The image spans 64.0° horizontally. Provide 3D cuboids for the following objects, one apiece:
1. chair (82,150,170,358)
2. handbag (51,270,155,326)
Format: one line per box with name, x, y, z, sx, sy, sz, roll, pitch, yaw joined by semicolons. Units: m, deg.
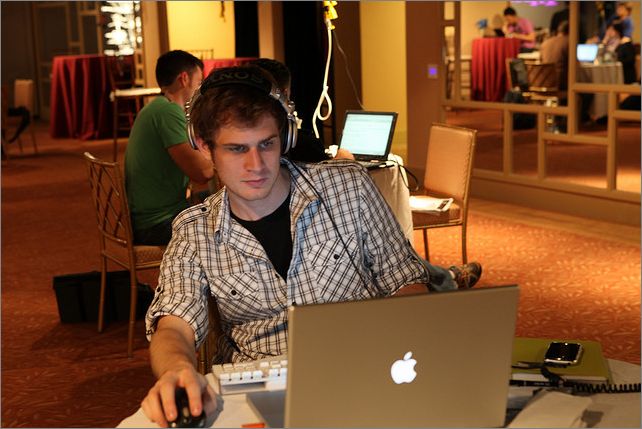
chair;-1.146;0.201;3.497;0.732;1.239;0.633;-8;15;-39
handbag;-1.604;0.489;3.682;0.614;0.426;0.409;0;-12;-8
